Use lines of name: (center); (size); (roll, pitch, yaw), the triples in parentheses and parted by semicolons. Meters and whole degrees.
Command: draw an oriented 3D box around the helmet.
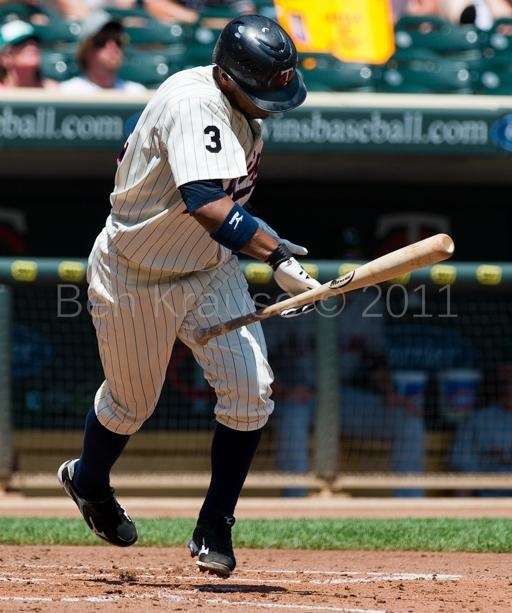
helmet: (0.014, -0.640, 2.527); (0.248, 0.275, 0.175); (3, 6, 0)

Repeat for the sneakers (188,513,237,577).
sneakers: (-0.111, 0.657, 2.676); (0.091, 0.103, 0.218); (18, -10, -17)

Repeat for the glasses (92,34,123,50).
glasses: (-0.792, -1.436, 5.247); (0.133, 0.038, 0.085); (-4, 4, 3)
